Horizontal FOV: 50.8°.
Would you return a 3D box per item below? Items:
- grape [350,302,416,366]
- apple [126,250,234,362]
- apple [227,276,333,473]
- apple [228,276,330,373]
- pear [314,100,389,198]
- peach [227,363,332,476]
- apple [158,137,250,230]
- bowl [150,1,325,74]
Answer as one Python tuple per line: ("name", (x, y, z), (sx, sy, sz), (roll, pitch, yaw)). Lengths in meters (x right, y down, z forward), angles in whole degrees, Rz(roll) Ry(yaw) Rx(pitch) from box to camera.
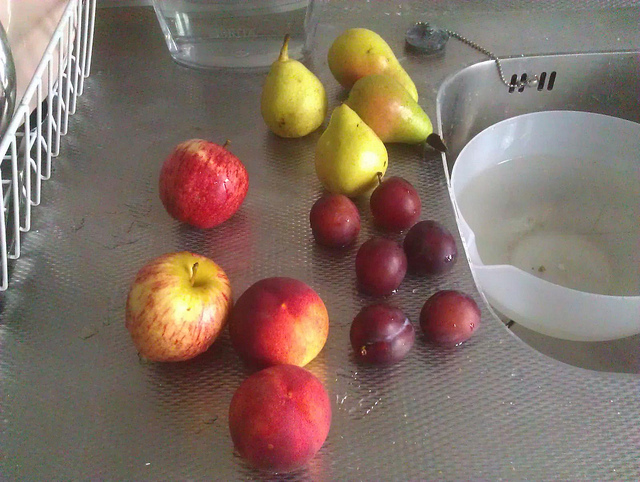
("grape", (0.064, 0.095, 0.691), (0.062, 0.061, 0.064), (-1, 92, 6))
("apple", (-0.144, 0.064, 0.688), (0.109, 0.062, 0.092), (-19, 62, -18))
("apple", (-0.037, 0.123, 0.699), (0.083, 0.090, 0.183), (39, 32, -30))
("apple", (-0.044, 0.090, 0.715), (0.103, 0.114, 0.095), (4, 73, 17))
("pear", (0.036, -0.114, 0.824), (0.085, 0.121, 0.093), (-9, 30, -7))
("peach", (-0.037, 0.172, 0.631), (0.086, 0.046, 0.090), (4, 54, -7))
("apple", (-0.138, -0.068, 0.798), (0.097, 0.098, 0.109), (13, 91, -32))
("bowl", (-0.121, -0.299, 0.930), (0.175, 0.120, 0.123), (7, 43, 19))
